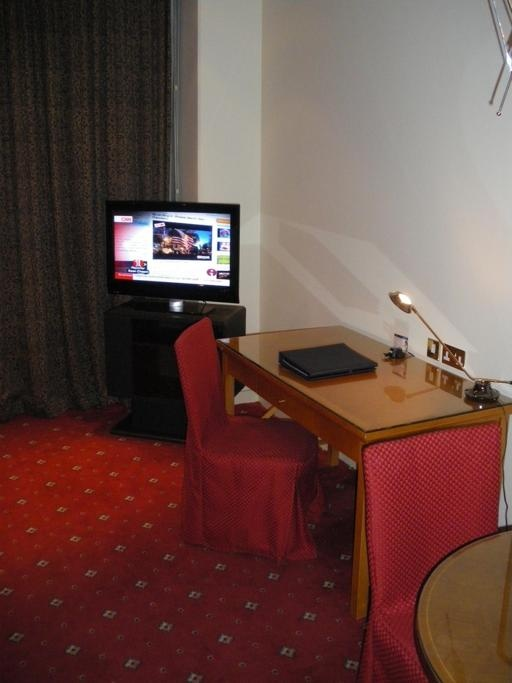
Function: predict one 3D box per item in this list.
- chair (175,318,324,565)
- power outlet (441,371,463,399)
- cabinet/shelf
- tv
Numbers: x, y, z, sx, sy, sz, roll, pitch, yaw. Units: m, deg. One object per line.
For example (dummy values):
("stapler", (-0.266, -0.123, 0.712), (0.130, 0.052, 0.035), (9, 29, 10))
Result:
("chair", (0.004, 0.240, 2.425), (0.718, 1.133, 0.739), (2, 21, 7))
("power outlet", (0.656, 0.155, 1.884), (0.057, 0.021, 0.086), (19, 18, -12))
("cabinet/shelf", (-0.402, 0.134, 2.710), (0.587, 0.649, 0.364), (3, 18, 8))
("tv", (-0.442, -0.462, 2.968), (0.553, 0.443, 0.046), (7, 23, 11))
